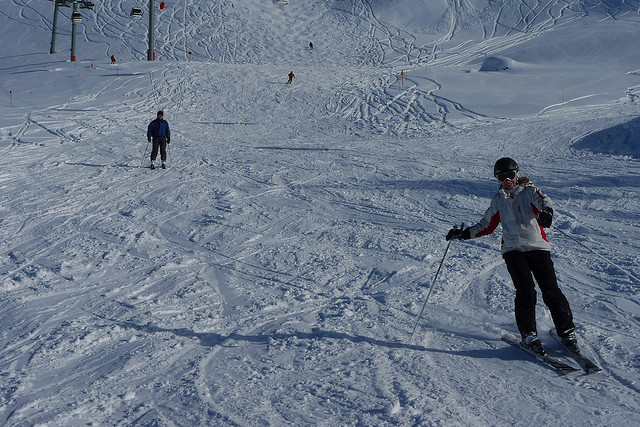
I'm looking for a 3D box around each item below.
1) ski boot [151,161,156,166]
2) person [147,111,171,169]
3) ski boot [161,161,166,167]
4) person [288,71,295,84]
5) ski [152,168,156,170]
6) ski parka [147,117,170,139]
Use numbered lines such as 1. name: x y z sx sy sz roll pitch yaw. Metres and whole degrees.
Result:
1. ski boot: -5.557 -1.680 20.929 0.098 0.175 0.150 -2 24 -23
2. person: -5.383 -2.498 21.060 0.697 1.968 1.109 2 23 -15
3. ski boot: -5.228 -1.721 21.103 0.129 0.185 0.476 3 21 -13
4. person: -1.659 -7.720 35.790 0.238 0.568 0.805 5 22 -7
5. ski: -5.519 -1.521 21.016 0.072 0.038 0.160 12 21 11
6. ski parka: -5.379 -2.825 20.999 0.649 0.650 0.574 2 23 -13
